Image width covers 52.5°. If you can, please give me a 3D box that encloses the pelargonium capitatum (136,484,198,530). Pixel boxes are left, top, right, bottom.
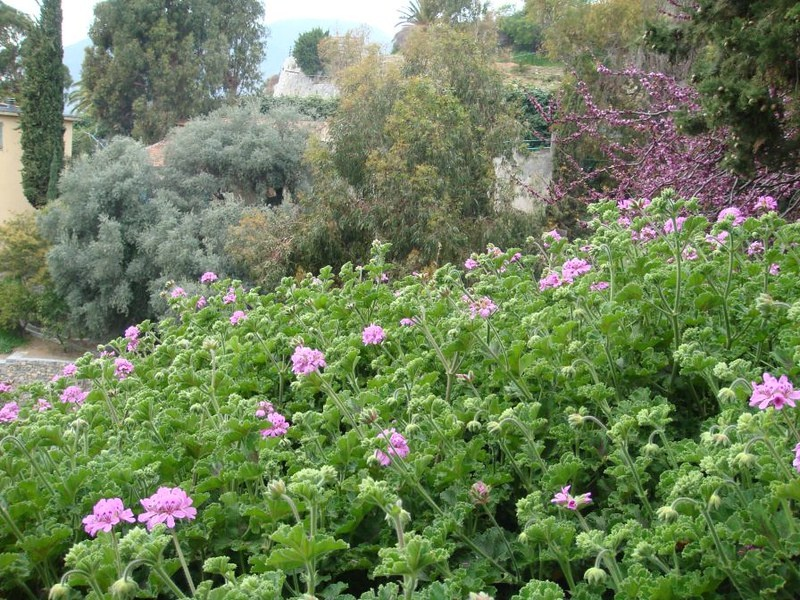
[{"bbox_3d":[-1.093,0.981,3.793,0.219,0.188,0.224,15,21,42],"label":"pelargonium capitatum"}]
